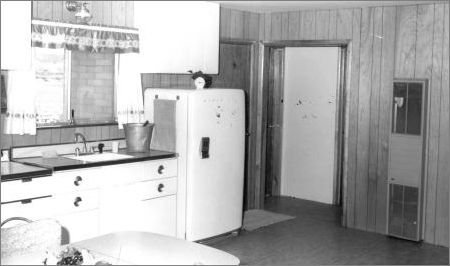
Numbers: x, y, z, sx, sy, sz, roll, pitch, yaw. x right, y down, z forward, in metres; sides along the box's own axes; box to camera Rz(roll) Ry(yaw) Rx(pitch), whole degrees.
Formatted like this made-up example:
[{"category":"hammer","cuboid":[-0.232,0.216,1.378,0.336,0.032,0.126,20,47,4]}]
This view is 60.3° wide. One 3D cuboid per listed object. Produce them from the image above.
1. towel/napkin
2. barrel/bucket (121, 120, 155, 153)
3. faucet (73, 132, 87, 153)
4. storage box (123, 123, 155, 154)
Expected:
[{"category":"towel/napkin","cuboid":[-2.511,-0.367,4.715,0.381,0.756,0.238,-4,13,-22]},{"category":"barrel/bucket","cuboid":[-1.264,0.067,5.400,0.458,0.352,0.402,0,0,-29]},{"category":"faucet","cuboid":[-1.920,0.133,5.150,0.165,0.282,0.282,-3,13,-21]},{"category":"storage box","cuboid":[-1.164,0.081,5.421,0.392,0.341,0.435,0,0,44]}]
